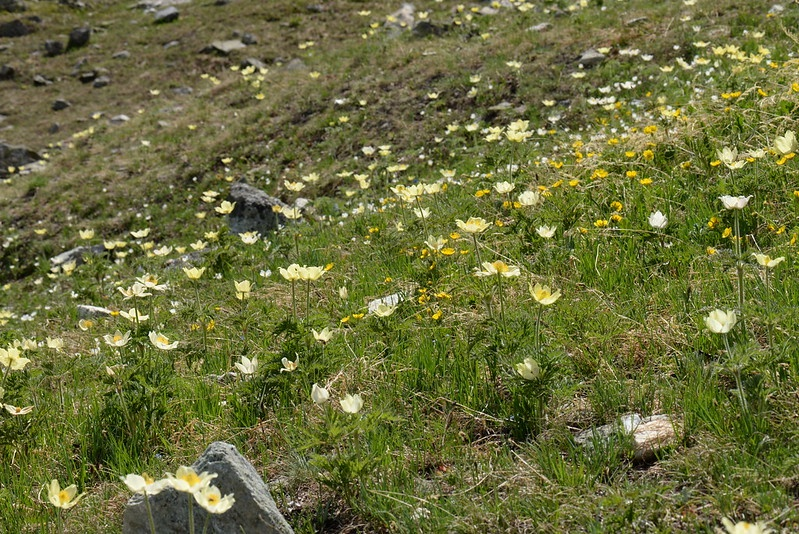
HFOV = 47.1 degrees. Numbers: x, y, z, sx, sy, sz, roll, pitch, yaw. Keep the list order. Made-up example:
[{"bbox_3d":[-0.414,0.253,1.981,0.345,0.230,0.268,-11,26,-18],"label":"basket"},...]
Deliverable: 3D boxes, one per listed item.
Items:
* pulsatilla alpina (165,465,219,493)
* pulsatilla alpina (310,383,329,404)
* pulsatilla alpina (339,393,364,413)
[{"bbox_3d":[-2.499,2.552,10.974,0.422,0.225,0.431,8,6,-32],"label":"pulsatilla alpina"},{"bbox_3d":[-1.012,1.611,11.624,0.202,0.293,0.258,-27,-1,-11],"label":"pulsatilla alpina"},{"bbox_3d":[-0.596,1.709,11.533,0.252,0.266,0.238,-11,4,-42],"label":"pulsatilla alpina"}]
